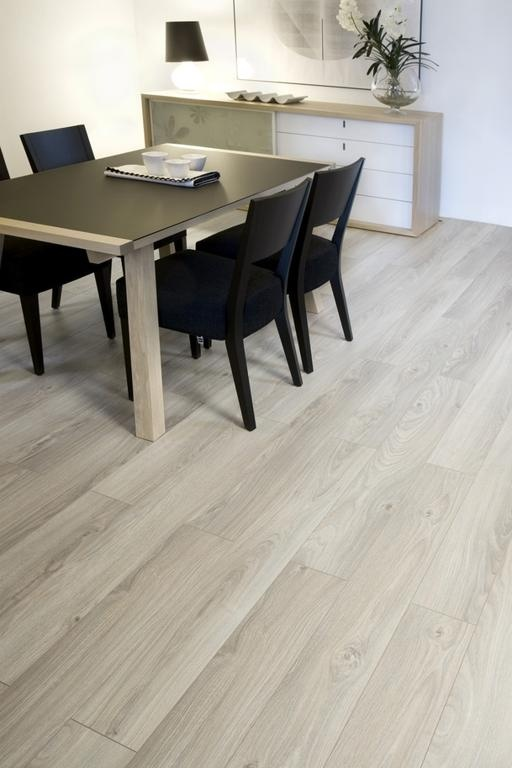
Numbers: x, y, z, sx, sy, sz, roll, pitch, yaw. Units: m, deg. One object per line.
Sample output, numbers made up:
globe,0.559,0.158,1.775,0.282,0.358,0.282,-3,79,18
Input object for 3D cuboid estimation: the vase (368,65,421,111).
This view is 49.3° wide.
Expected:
vase,0.956,-1.991,3.833,0.284,0.260,0.352,0,19,10

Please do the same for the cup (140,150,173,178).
cup,-0.411,-0.897,2.348,0.141,0.122,0.166,0,30,-1

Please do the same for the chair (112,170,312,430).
chair,-0.107,-0.331,1.988,0.506,0.727,0.434,18,32,29

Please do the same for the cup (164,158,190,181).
cup,-0.312,-0.864,2.216,0.089,0.068,0.097,-2,25,1

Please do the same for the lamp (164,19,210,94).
lamp,-0.562,-2.703,4.610,0.333,0.512,0.427,-4,25,-2

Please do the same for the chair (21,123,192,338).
chair,-0.726,-0.977,2.963,0.789,1.212,0.646,18,39,28
